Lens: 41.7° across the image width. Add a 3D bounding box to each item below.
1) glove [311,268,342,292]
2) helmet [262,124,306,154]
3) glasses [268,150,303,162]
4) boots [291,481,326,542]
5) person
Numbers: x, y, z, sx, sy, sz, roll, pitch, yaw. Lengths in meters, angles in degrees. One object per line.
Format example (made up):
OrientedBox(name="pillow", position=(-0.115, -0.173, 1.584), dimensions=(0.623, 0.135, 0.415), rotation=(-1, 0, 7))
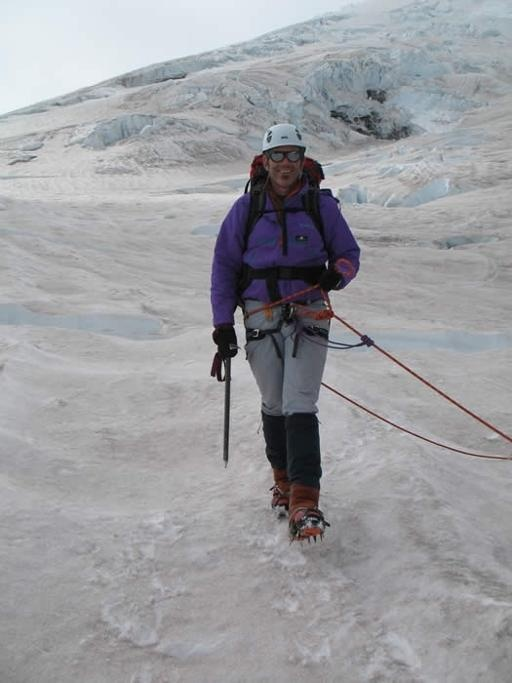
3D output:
OrientedBox(name="glove", position=(0.298, -0.263, 2.864), dimensions=(0.123, 0.100, 0.081), rotation=(7, -1, 4))
OrientedBox(name="helmet", position=(0.107, -0.867, 2.892), dimensions=(0.137, 0.110, 0.168), rotation=(-5, 0, -2))
OrientedBox(name="glasses", position=(0.130, -0.777, 2.828), dimensions=(0.154, 0.051, 0.088), rotation=(-4, 17, -9))
OrientedBox(name="boots", position=(0.204, 0.673, 2.577), dimensions=(0.143, 0.204, 0.202), rotation=(-5, 18, -8))
OrientedBox(name="person", position=(0.093, -0.076, 2.830), dimensions=(0.637, 1.613, 0.883), rotation=(1, 19, 10))
